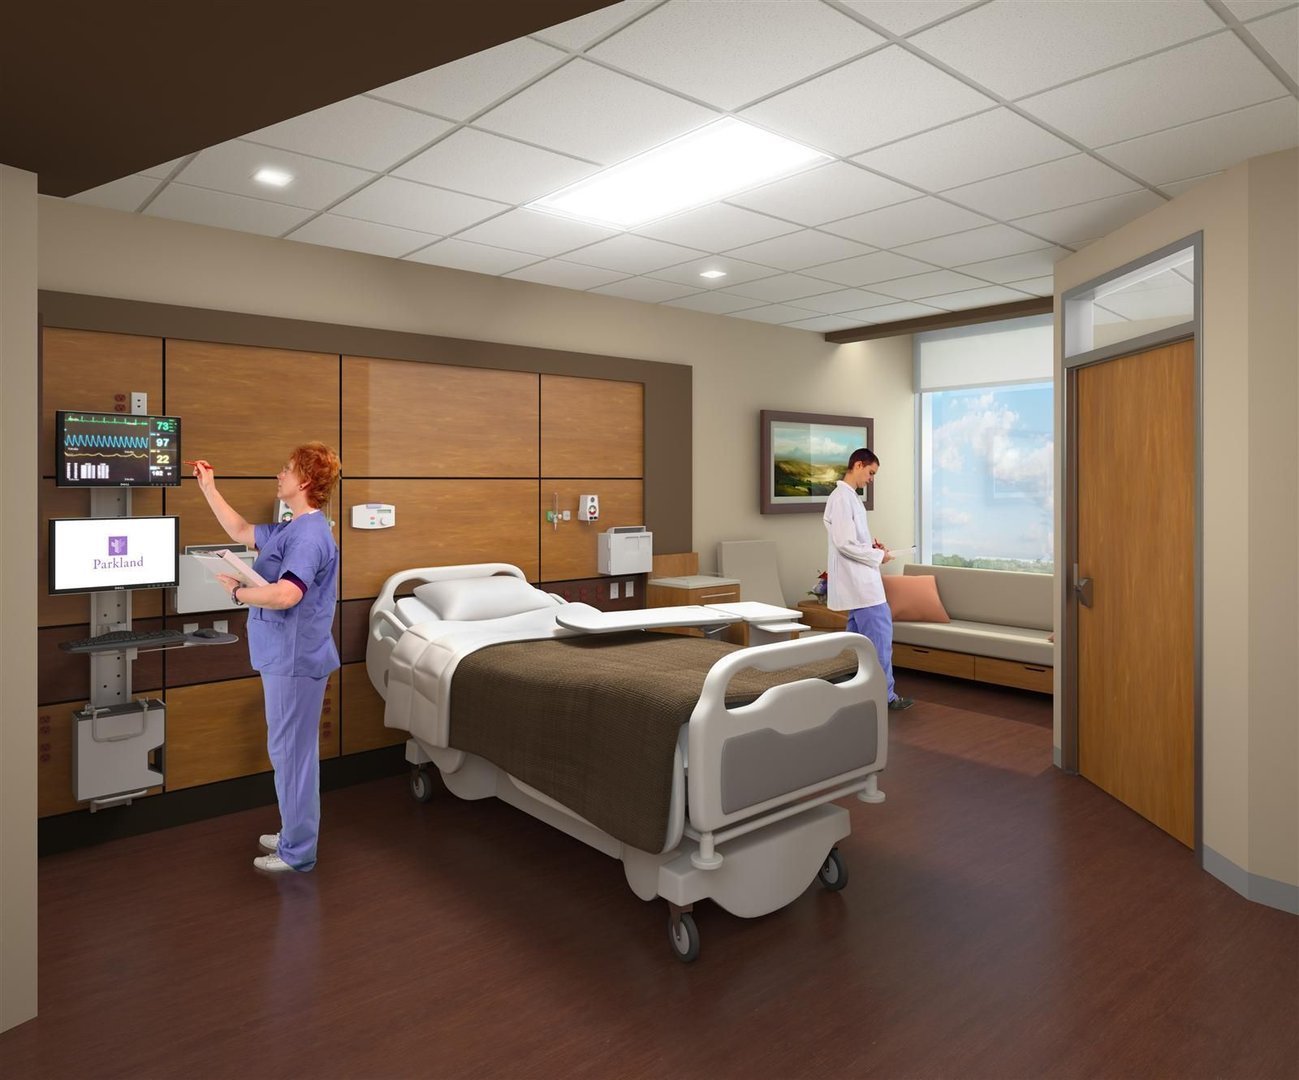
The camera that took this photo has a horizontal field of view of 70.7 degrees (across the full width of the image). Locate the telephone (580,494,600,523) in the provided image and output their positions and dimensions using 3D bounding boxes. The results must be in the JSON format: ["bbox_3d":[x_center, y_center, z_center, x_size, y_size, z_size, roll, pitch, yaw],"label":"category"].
[{"bbox_3d":[-0.420,-0.223,6.326,0.155,0.235,0.153,-1,1,-44],"label":"telephone"}]

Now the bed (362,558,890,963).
[{"bbox_3d":[-0.254,0.812,4.409,1.295,1.157,2.290,-1,2,-38],"label":"bed"}]

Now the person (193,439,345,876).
[{"bbox_3d":[-1.761,0.538,4.362,0.604,1.959,0.823,-4,8,-27],"label":"person"}]

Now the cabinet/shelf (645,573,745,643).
[{"bbox_3d":[0.334,0.355,6.737,0.448,0.662,0.639,-1,0,43],"label":"cabinet/shelf"}]
